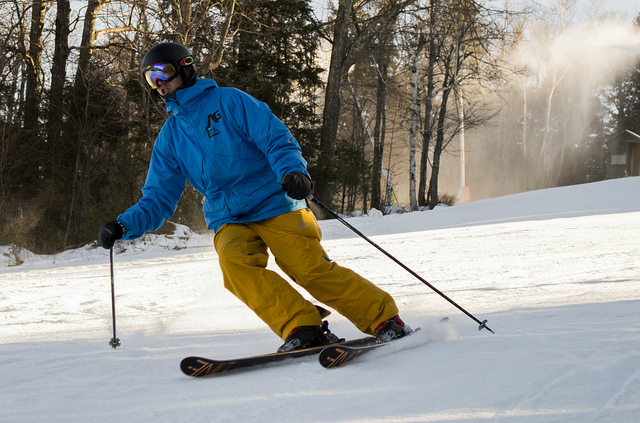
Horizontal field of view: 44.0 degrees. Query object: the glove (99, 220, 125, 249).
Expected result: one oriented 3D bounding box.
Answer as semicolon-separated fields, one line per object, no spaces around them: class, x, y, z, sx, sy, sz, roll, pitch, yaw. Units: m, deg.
glove;-4.386;0.492;16.617;0.539;0.578;0.248;-1;2;-1
